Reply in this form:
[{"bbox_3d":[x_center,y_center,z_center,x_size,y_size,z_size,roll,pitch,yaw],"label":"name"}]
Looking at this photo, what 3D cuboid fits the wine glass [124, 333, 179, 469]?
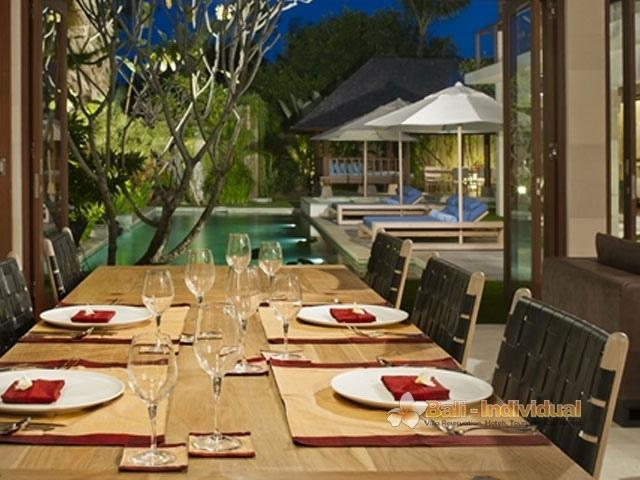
[{"bbox_3d":[-0.352,0.310,1.026,0.091,0.274,0.215,-2,7,-22],"label":"wine glass"}]
